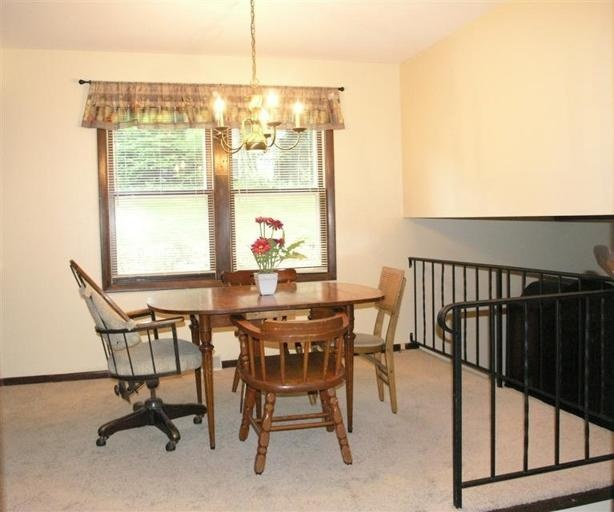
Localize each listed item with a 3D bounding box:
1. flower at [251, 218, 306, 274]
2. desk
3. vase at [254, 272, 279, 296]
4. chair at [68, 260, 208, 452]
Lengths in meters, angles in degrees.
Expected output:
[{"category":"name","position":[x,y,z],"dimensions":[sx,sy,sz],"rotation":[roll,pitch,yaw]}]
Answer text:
[{"category":"flower","position":[-0.300,-0.080,3.636],"dimensions":[0.425,0.393,0.309],"rotation":[0,-1,-2]},{"category":"desk","position":[-0.246,0.775,3.443],"dimensions":[1.503,0.867,1.021],"rotation":[-9,1,3]},{"category":"vase","position":[-0.295,0.190,3.687],"dimensions":[0.206,0.184,0.149],"rotation":[1,-2,-17]},{"category":"chair","position":[-1.044,0.630,3.908],"dimensions":[1.194,1.551,1.053],"rotation":[-1,5,-19]}]
